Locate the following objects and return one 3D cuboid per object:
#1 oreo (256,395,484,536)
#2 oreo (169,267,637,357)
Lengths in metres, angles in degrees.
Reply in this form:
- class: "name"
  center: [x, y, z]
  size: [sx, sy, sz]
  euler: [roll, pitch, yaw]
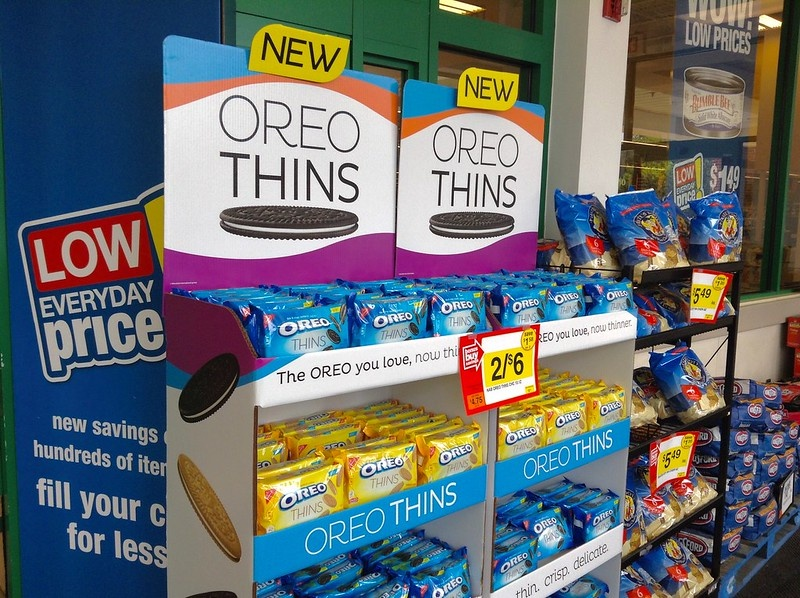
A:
- class: "oreo"
  center: [-0.135, 0.452, 1.969]
  size: [0.722, 0.196, 0.382]
  euler: [-11, 9, -28]
- class: "oreo"
  center: [-0.018, 0.040, 1.935]
  size: [0.833, 0.119, 1.368]
  euler: [7, 10, 42]
